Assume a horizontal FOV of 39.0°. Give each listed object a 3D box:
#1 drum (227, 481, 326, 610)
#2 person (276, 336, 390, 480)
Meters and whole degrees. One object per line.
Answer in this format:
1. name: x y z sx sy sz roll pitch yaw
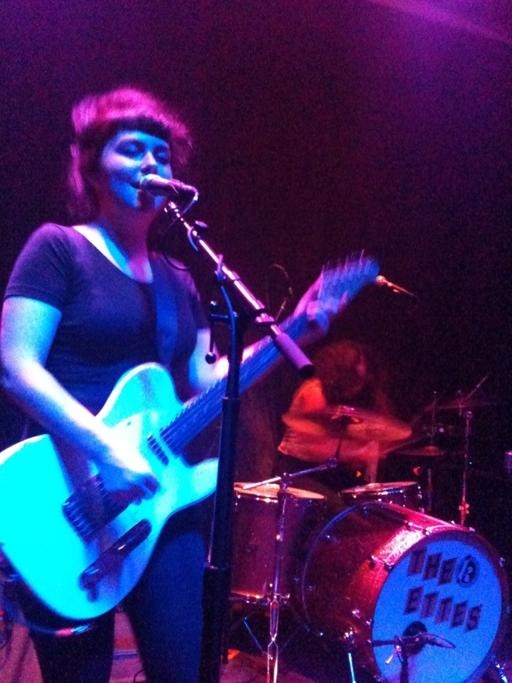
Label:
1. drum: 0.102 0.950 3.440 0.476 0.558 0.477 15 -25 -30
2. person: 0.423 0.307 3.968 0.178 0.781 0.741 10 41 30
